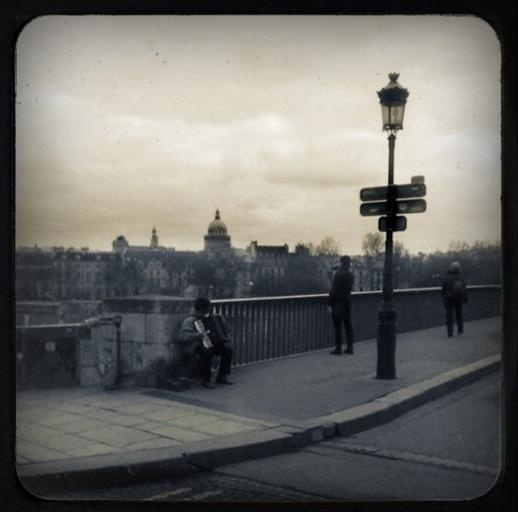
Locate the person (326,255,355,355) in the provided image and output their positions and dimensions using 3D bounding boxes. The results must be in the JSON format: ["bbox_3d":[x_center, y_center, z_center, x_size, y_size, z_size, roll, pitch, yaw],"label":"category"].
[{"bbox_3d":[1.242,0.751,15.528,0.393,1.388,0.589,-2,0,5],"label":"person"}]

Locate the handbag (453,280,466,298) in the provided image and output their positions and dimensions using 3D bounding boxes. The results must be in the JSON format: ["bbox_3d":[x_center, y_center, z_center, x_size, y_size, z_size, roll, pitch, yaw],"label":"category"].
[{"bbox_3d":[3.516,0.625,18.023,0.193,0.481,0.285,-2,-14,17],"label":"handbag"}]

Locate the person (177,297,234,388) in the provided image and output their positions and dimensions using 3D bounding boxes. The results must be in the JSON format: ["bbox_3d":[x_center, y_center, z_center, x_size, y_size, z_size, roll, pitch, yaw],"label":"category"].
[{"bbox_3d":[-0.654,1.012,12.129,0.612,1.044,0.486,-2,0,17],"label":"person"}]

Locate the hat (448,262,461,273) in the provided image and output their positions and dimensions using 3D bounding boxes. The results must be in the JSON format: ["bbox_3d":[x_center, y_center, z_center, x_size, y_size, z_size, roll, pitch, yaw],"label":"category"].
[{"bbox_3d":[3.525,0.206,18.448,0.158,0.211,0.192,1,-6,2],"label":"hat"}]

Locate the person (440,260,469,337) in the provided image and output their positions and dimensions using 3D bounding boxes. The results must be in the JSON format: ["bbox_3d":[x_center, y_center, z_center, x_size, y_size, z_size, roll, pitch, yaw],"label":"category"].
[{"bbox_3d":[3.476,0.786,18.284,0.432,1.228,0.900,-2,0,10],"label":"person"}]

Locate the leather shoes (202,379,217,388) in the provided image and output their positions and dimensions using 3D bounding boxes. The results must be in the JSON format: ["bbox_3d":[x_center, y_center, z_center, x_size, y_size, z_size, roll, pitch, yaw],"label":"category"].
[{"bbox_3d":[-0.576,1.485,11.901,0.147,0.090,0.166,-2,0,-10],"label":"leather shoes"}]
